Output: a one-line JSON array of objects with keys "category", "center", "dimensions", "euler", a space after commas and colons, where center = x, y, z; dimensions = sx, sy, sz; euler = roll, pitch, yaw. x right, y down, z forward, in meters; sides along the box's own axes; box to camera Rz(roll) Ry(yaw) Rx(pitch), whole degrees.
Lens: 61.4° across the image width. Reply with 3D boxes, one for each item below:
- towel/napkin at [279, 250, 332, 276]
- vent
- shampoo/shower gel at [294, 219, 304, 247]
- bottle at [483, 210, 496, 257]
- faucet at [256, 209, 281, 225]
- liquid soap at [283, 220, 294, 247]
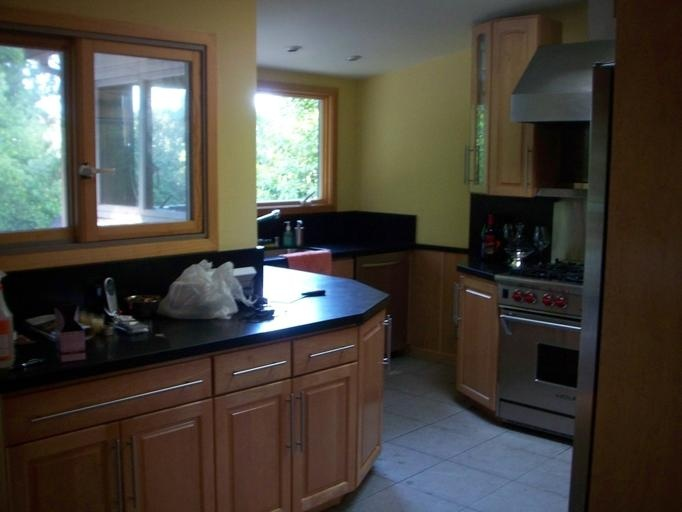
[{"category": "towel/napkin", "center": [-0.258, 0.064, 4.697], "dimensions": [0.188, 0.208, 0.503], "euler": [9, 13, 41]}, {"category": "vent", "center": [1.517, -1.165, 3.745], "dimensions": [0.641, 0.494, 0.646], "euler": [9, 17, 35]}, {"category": "shampoo/shower gel", "center": [-0.391, -0.222, 5.248], "dimensions": [0.085, 0.224, 0.250], "euler": [0, 10, -4]}, {"category": "bottle", "center": [1.166, -0.171, 4.513], "dimensions": [0.116, 0.323, 0.187], "euler": [3, 10, 14]}, {"category": "faucet", "center": [-0.632, -0.350, 5.000], "dimensions": [0.182, 0.124, 0.412], "euler": [0, 10, -5]}, {"category": "liquid soap", "center": [-0.484, -0.209, 5.205], "dimensions": [0.098, 0.224, 0.181], "euler": [0, 10, -6]}]
